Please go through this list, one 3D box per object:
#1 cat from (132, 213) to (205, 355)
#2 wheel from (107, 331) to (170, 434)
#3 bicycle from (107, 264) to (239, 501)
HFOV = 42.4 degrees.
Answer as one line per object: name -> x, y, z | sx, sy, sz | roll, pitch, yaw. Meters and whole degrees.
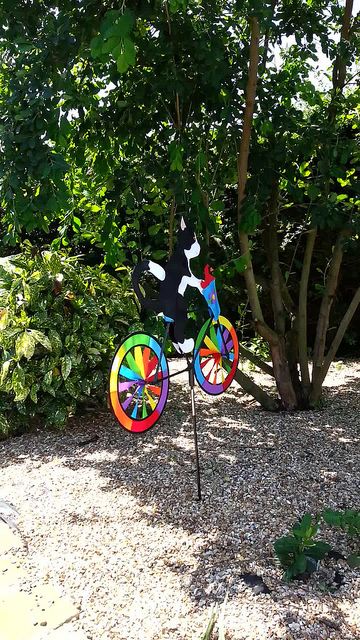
cat -> -0.050, -0.149, 2.067 | 0.215, 0.630, 0.457 | 0, 5, 34
wheel -> -0.163, 0.259, 1.918 | 0.048, 0.418, 0.402 | -2, -5, 34
bicycle -> 0.038, 0.212, 2.244 | 0.194, 1.081, 1.135 | -1, 4, 33
